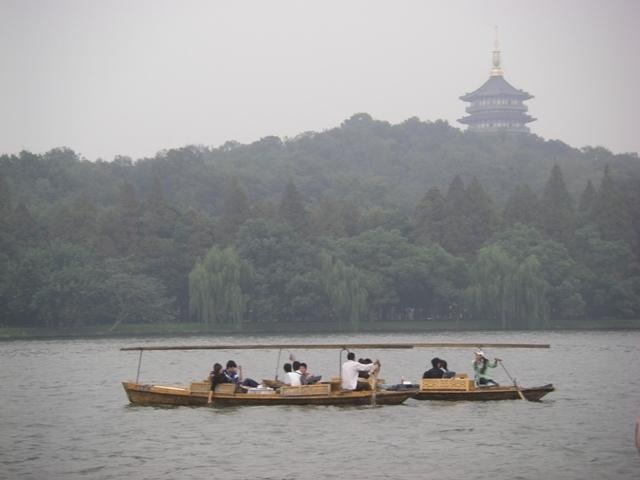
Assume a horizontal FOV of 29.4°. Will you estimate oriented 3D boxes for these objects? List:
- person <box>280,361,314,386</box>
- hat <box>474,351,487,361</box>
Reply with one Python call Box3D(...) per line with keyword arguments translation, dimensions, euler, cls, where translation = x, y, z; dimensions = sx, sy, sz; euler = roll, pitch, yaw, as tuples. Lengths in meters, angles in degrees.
Box3D(translation=(-1.330, 7.578, 68.953), dimensions=(1.031, 1.309, 0.534), euler=(4, -46, -9), cls="person")
Box3D(translation=(8.811, 6.362, 67.509), dimensions=(0.799, 0.342, 1.042), euler=(1, -9, 5), cls="hat")
